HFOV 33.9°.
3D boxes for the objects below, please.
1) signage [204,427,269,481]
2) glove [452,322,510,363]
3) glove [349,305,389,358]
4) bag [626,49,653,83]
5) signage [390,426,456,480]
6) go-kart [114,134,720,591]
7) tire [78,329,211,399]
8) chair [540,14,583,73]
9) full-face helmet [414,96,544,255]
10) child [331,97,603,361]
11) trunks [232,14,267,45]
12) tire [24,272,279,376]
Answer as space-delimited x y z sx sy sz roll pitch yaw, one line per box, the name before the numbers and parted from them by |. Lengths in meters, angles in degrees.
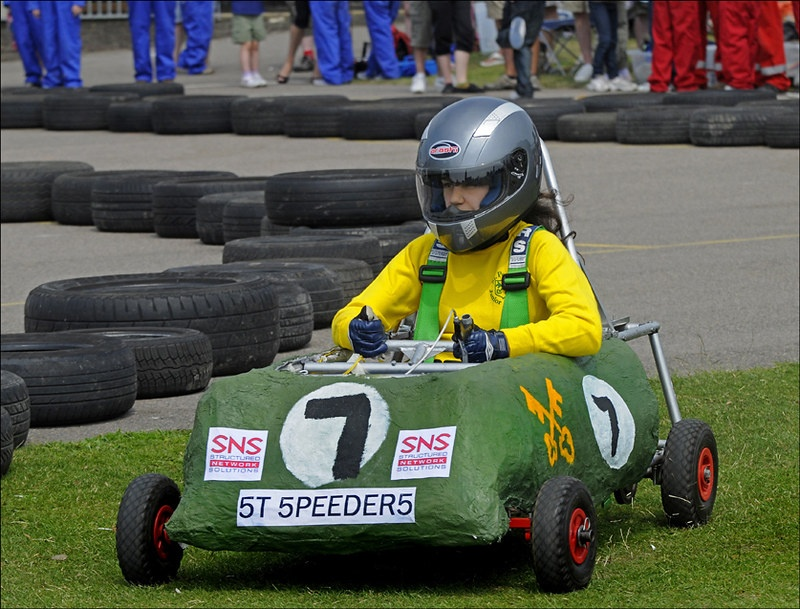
signage | -0.552 0.518 4.502 0.175 0.165 0.018 5 -27 1
glove | 0.299 0.153 4.817 0.166 0.143 0.080 3 -11 -9
glove | -0.131 0.107 5.053 0.135 0.177 0.182 -13 20 -31
bag | 2.757 -2.719 14.940 0.312 0.318 0.092 -4 7 44
signage | 0.090 0.502 4.398 0.204 0.017 0.174 -3 50 13
go-kart | 0.163 0.411 4.693 2.253 1.140 1.084 -8 15 -27
tire | -1.333 0.283 7.062 0.569 0.214 0.557 4 12 -43
chair | 2.230 -3.520 18.107 0.558 0.692 0.548 -5 12 14
full-face helmet | 0.317 -0.500 5.078 0.481 0.542 0.564 1 12 43
child | 0.305 -0.298 5.130 1.150 0.988 0.822 7 16 41
trunks | -1.044 -1.921 9.218 0.349 0.202 0.168 -11 16 -37
tire | -1.297 0.049 7.166 0.818 0.301 0.830 -1 3 18
